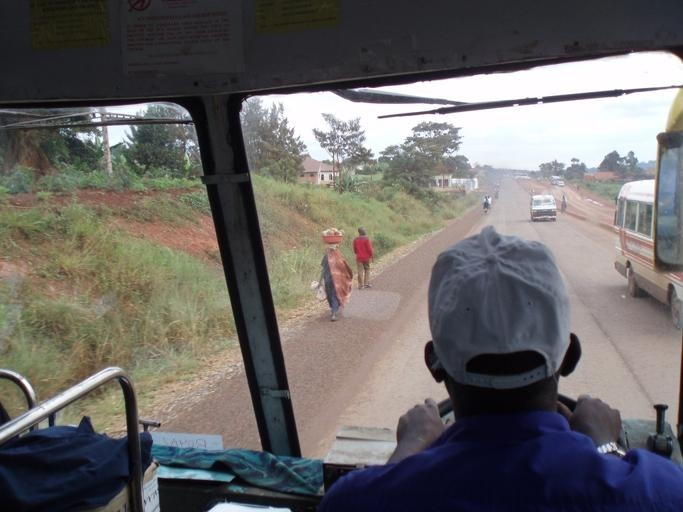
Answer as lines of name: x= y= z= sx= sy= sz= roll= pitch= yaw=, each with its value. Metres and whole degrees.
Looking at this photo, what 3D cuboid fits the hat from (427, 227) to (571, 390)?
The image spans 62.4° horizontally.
hat: x=0.506 y=0.088 z=1.917 sx=0.478 sy=0.272 sz=0.716 roll=-9 pitch=33 yaw=8
